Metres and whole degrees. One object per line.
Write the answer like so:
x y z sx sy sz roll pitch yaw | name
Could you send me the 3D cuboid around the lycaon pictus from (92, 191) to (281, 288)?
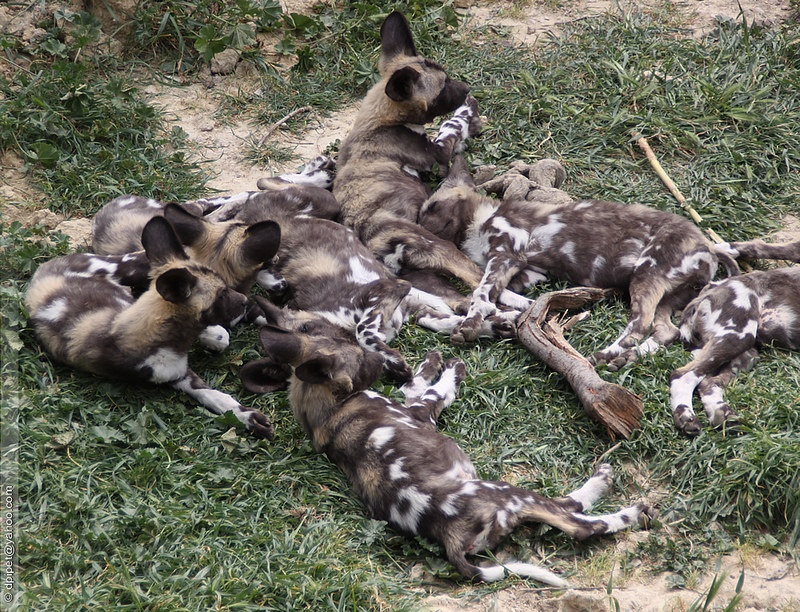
-2.019 -0.585 7.652 1.741 0.667 0.804 4 55 1 | lycaon pictus
